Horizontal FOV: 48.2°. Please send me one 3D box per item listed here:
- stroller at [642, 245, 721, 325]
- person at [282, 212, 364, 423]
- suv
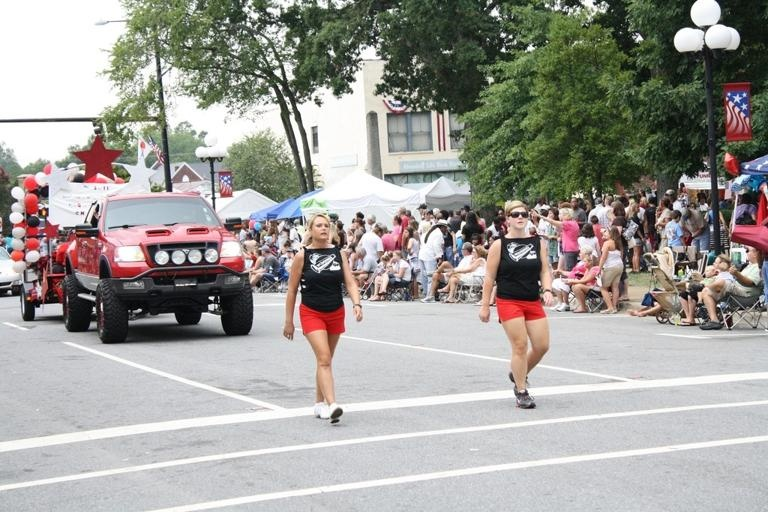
[{"bbox_3d":[6.108,0.681,17.818,1.596,1.831,1.059,1,0,0],"label":"stroller"},{"bbox_3d":[-0.745,0.703,10.389,0.932,2.420,0.953,-2,3,-4],"label":"person"},{"bbox_3d":[-4.991,0.164,18.294,3.522,3.046,5.476,-5,5,-44],"label":"suv"}]
